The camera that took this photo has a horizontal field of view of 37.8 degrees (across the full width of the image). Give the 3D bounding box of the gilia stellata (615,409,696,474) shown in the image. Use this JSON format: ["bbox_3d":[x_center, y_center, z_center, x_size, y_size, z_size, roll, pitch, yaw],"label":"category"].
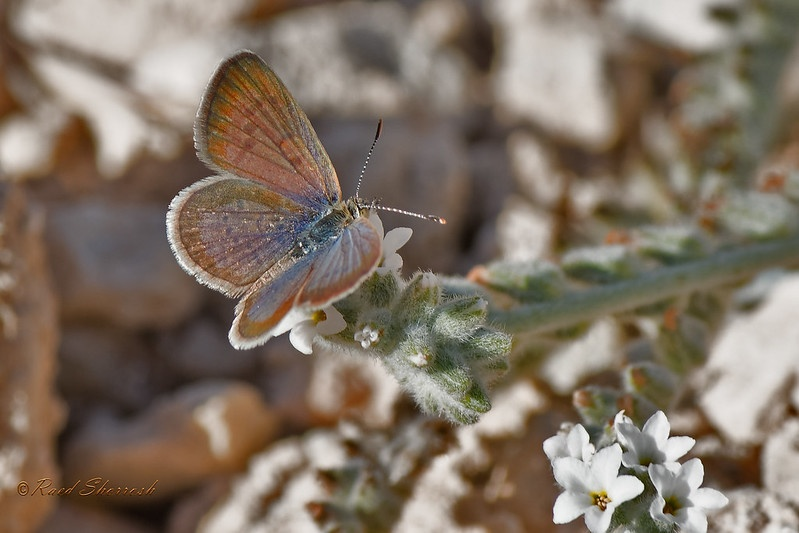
[{"bbox_3d":[0.516,0.357,2.397,0.115,0.104,0.144,0,-75,-8],"label":"gilia stellata"}]

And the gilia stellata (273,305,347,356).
[{"bbox_3d":[-0.187,0.130,2.441,0.148,0.065,0.092,8,-69,-11],"label":"gilia stellata"}]
